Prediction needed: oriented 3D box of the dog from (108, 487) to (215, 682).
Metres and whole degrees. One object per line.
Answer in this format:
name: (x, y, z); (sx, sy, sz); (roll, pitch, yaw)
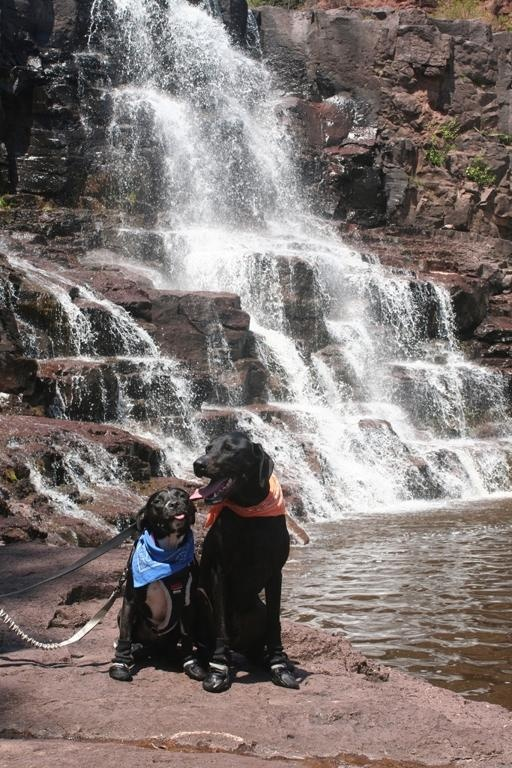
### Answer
dog: (-0.435, 0.978, 4.563); (0.462, 0.801, 0.361); (7, 2, -9)
